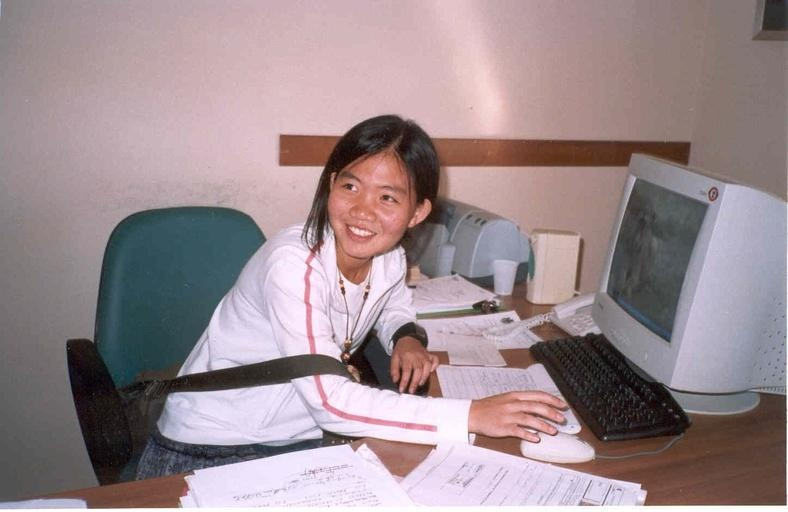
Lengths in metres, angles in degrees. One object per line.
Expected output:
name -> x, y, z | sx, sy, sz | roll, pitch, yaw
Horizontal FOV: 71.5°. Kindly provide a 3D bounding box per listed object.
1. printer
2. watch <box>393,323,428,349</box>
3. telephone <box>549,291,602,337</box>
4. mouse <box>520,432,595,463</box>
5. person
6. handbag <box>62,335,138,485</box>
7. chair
printer -> 0.331, -0.058, 2.436 | 0.387, 0.260, 0.496 | 0, 10, -18
watch -> 0.062, 0.258, 1.872 | 0.087, 0.085, 0.079 | 10, 15, -9
telephone -> 0.687, 0.215, 2.066 | 0.153, 0.045, 0.151 | -21, 30, -33
mouse -> 0.434, 0.507, 1.436 | 0.143, 0.045, 0.082 | -2, 15, 3
person -> -0.201, 0.147, 1.855 | 1.192, 1.489, 0.631 | 8, 23, -5
handbag -> -0.809, 0.421, 1.529 | 0.094, 0.355, 0.253 | -6, 13, -19
chair -> -0.668, 0.420, 1.822 | 0.706, 0.903, 0.730 | -6, 26, -38
